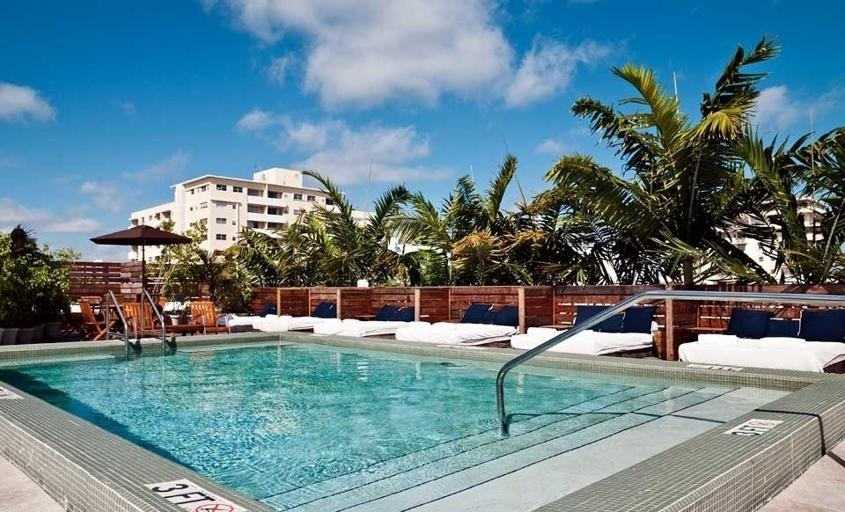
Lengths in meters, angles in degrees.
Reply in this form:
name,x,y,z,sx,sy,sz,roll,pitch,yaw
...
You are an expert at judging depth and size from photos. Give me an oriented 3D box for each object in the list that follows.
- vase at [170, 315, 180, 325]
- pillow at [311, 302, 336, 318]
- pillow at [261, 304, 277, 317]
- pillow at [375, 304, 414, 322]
name,x,y,z,sx,sy,sz,roll,pitch,yaw
vase,-5.830,1.551,11.876,0.267,0.214,0.237,2,-9,-26
pillow,-2.769,1.532,14.223,0.566,0.481,0.160,1,-30,37
pillow,-4.741,1.702,15.607,0.450,0.366,0.127,-1,-27,25
pillow,-0.696,1.475,12.639,1.193,0.340,0.548,-1,2,43
